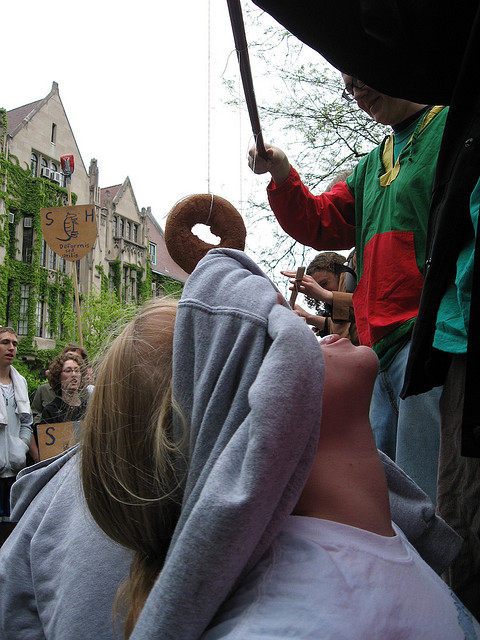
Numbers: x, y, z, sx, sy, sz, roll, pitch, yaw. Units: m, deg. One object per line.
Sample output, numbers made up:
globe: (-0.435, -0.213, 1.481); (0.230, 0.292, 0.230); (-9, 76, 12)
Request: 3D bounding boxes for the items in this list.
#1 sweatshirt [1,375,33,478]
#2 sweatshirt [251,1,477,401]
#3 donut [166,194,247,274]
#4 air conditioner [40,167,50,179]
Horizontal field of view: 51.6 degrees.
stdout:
sweatshirt: (-2.254, 1.025, 4.904); (0.331, 0.926, 0.337); (-6, 2, 39)
sweatshirt: (0.380, -0.279, 1.384); (0.494, 0.974, 0.486); (3, 1, 24)
donut: (-0.089, -0.248, 1.421); (0.235, 0.167, 0.132); (2, 1, -15)
air conditioner: (-9.988, -7.541, 25.422); (0.449, 0.602, 0.421); (2, 1, -25)
